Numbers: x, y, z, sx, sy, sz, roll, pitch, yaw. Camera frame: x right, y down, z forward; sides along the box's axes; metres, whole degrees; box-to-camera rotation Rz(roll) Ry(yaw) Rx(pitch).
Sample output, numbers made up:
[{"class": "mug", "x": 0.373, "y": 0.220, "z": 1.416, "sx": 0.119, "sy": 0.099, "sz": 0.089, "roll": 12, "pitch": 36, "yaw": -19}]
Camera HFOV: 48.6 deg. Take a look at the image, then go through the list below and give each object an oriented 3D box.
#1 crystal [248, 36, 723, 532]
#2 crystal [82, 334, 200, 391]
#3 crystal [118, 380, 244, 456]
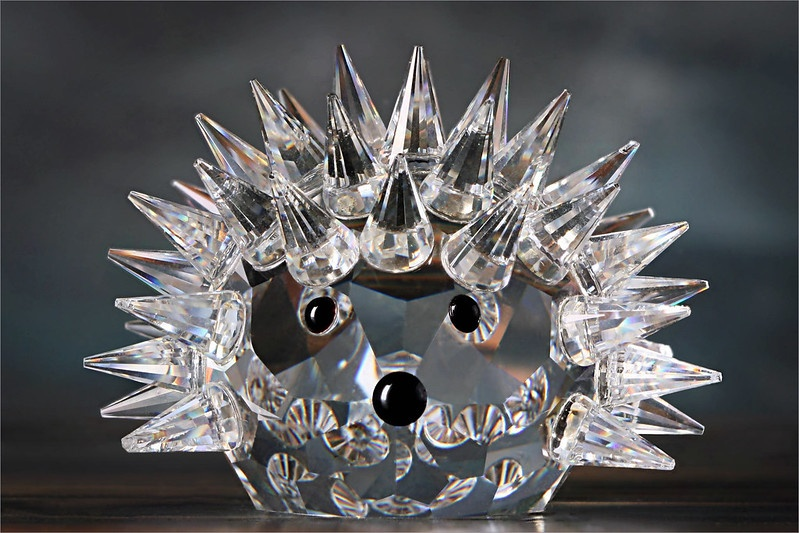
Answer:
[{"class": "crystal", "x": 0.124, "y": 0.021, "z": 1.630, "sx": 0.889, "sy": 0.728, "sz": 0.250, "roll": -6, "pitch": 2, "yaw": -2}, {"class": "crystal", "x": -0.461, "y": 0.170, "z": 1.574, "sx": 0.138, "sy": 0.067, "sz": 0.119, "roll": 2, "pitch": 3, "yaw": -1}, {"class": "crystal", "x": -0.384, "y": 0.274, "z": 1.567, "sx": 0.210, "sy": 0.122, "sz": 0.074, "roll": -6, "pitch": 2, "yaw": -13}]
